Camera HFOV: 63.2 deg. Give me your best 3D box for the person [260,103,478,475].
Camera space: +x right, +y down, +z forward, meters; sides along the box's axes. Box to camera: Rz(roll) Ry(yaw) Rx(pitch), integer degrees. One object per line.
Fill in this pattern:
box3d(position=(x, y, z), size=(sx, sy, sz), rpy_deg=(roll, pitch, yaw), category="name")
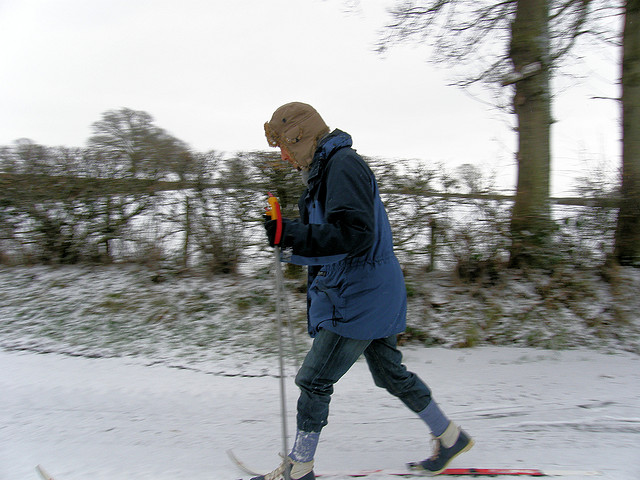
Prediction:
box3d(position=(0.288, 0.416, 4.103), size=(1.462, 3.002, 0.832), rpy_deg=(-1, 1, 10), category="person")
